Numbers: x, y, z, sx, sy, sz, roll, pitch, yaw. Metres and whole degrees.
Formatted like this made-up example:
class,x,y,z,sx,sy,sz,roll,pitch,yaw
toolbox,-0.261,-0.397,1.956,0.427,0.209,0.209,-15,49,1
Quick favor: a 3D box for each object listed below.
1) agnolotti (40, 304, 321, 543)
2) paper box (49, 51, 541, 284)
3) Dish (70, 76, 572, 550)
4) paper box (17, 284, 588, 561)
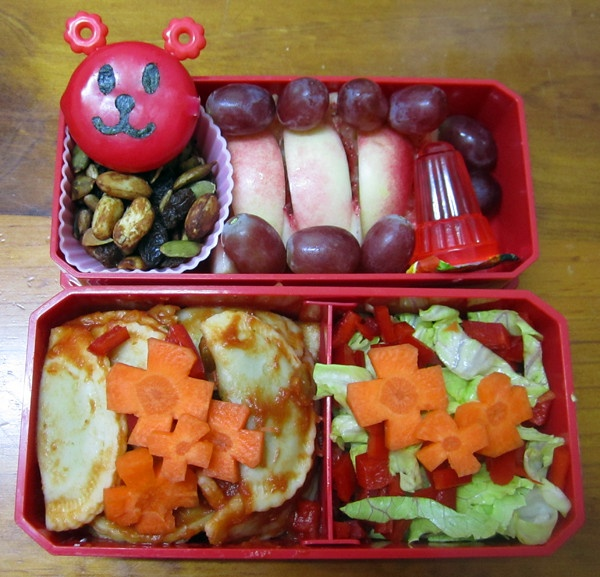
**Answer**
class,x,y,z,sx,sy,sz,roll,pitch,yaw
agnolotti,-0.325,0.359,1.640,0.744,0.236,0.537,0,88,-1
paper box,-0.014,-0.340,1.902,1.466,0.279,0.642,1,81,-1
Dish,-0.341,0.360,1.740,0.933,0.240,0.670,-15,90,-31
paper box,-0.043,0.282,1.994,1.605,0.334,0.688,1,83,-4
